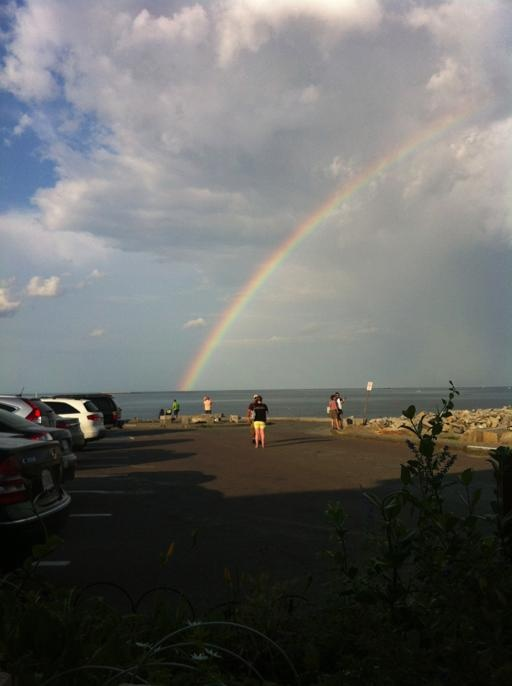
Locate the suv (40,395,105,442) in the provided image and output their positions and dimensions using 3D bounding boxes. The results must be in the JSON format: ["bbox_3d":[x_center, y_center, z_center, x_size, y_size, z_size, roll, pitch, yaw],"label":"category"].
[{"bbox_3d":[-6.792,2.611,18.709,2.872,1.252,1.323,3,-3,8],"label":"suv"}]
